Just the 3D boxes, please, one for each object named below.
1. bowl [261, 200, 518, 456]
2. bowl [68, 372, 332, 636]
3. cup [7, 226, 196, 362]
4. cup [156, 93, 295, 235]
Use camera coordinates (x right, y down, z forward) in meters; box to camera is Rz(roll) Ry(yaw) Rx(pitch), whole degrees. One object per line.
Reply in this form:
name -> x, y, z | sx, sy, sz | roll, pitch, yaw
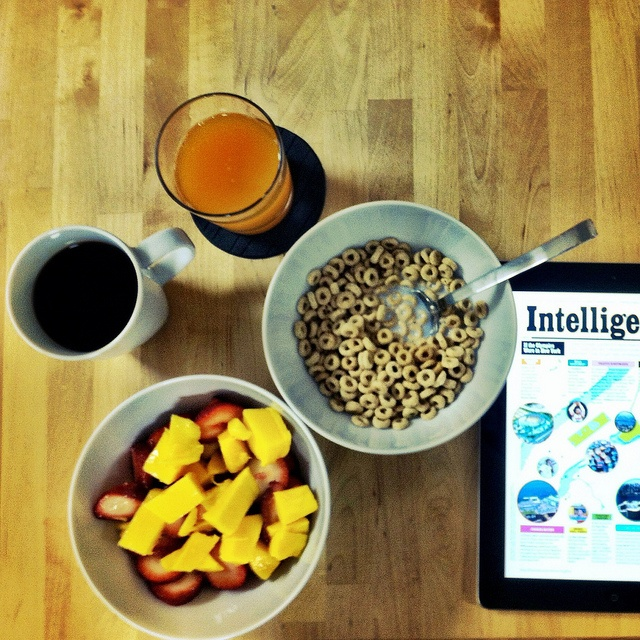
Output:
bowl -> 0.087, 0.011, 0.946 | 0.316, 0.090, 0.317 | 0, 86, -1
bowl -> -0.140, 0.224, 0.892 | 0.308, 0.086, 0.306 | 0, 86, -1
cup -> -0.261, -0.025, 0.944 | 0.216, 0.154, 0.159 | 0, 85, 0
cup -> -0.109, -0.184, 1.013 | 0.150, 0.164, 0.186 | -17, 93, 5
